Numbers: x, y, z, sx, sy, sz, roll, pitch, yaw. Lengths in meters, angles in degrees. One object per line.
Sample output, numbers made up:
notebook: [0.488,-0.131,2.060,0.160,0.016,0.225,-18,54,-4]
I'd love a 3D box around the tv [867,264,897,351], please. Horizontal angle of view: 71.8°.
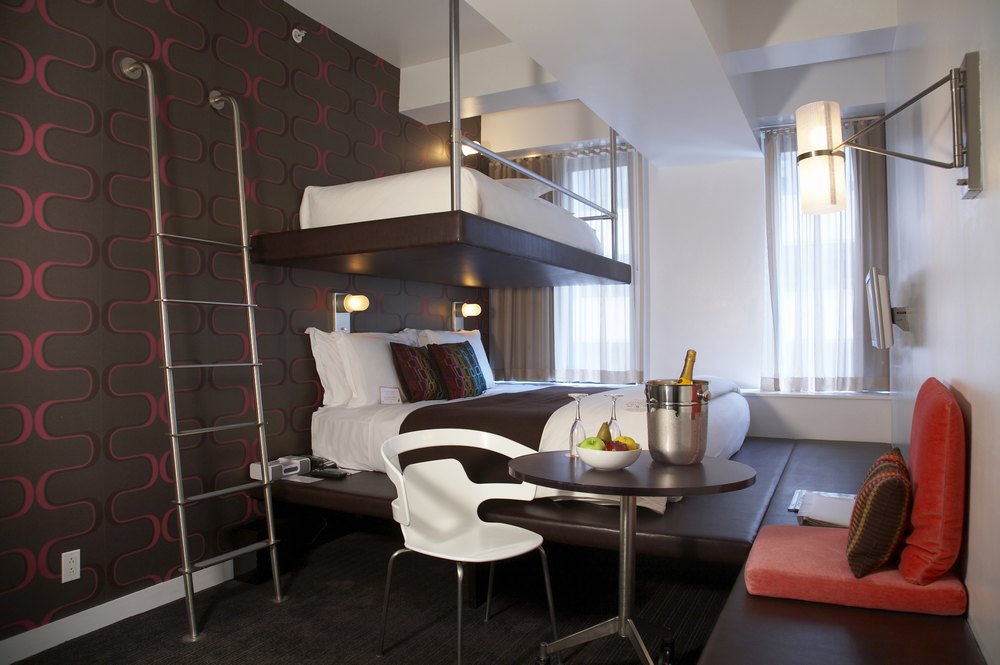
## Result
tv: [2.109,-0.140,3.820,0.128,0.485,0.484,3,11,28]

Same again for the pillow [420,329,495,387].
pillow: [-0.347,0.218,5.559,0.143,0.487,0.508,-24,-15,25]

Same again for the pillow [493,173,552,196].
pillow: [0.104,-1.073,5.011,0.310,0.099,0.336,5,1,42]

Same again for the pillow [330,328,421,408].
pillow: [-0.880,0.227,4.579,0.490,0.459,0.128,-1,-11,-44]

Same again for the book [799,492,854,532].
book: [1.504,0.817,3.188,0.186,0.046,0.193,3,11,29]

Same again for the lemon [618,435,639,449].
lemon: [0.563,0.469,3.016,0.057,0.060,0.056,-6,-27,-46]

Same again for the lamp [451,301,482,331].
lamp: [-0.315,-0.143,6.034,0.242,0.354,0.244,0,-1,15]

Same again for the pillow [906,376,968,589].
pillow: [1.558,0.553,2.459,0.122,0.382,0.677,-2,8,29]

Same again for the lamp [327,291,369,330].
lamp: [-1.058,-0.153,4.879,0.244,0.372,0.261,0,-1,18]

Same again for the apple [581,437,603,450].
apple: [0.394,0.473,2.959,0.057,0.060,0.059,-18,-2,-44]

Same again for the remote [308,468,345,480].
remote: [-1.046,0.842,4.128,0.260,0.043,0.109,1,10,16]

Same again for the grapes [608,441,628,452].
grapes: [0.500,0.482,2.961,0.041,0.043,0.041,0,-1,-41]

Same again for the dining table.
dining table: [0.547,1.058,3.053,0.975,0.858,0.914,-5,7,-29]
